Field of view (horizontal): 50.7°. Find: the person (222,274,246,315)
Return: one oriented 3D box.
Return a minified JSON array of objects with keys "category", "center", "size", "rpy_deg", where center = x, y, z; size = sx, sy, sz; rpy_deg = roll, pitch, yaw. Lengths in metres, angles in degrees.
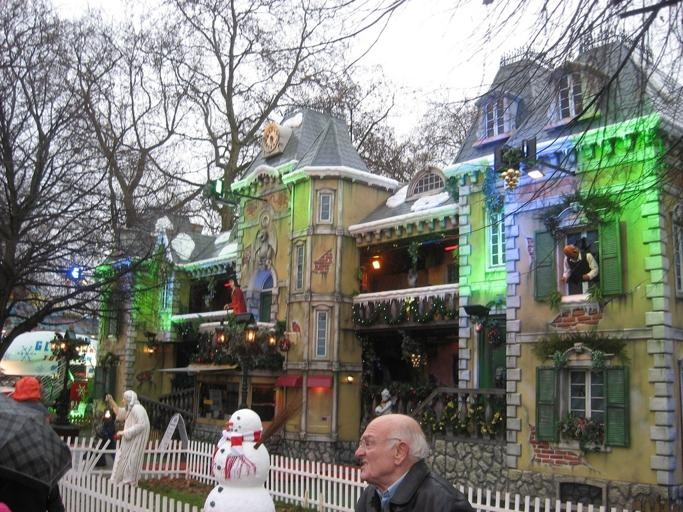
[{"category":"person","center":[-4.292,1.998,28.920],"size":[0.806,2.151,0.796],"rpy_deg":[-3,6,5]}]

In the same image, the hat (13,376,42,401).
[{"category":"hat","center":[-5.089,2.203,11.727],"size":[0.437,0.476,0.371],"rpy_deg":[-6,-15,33]}]
